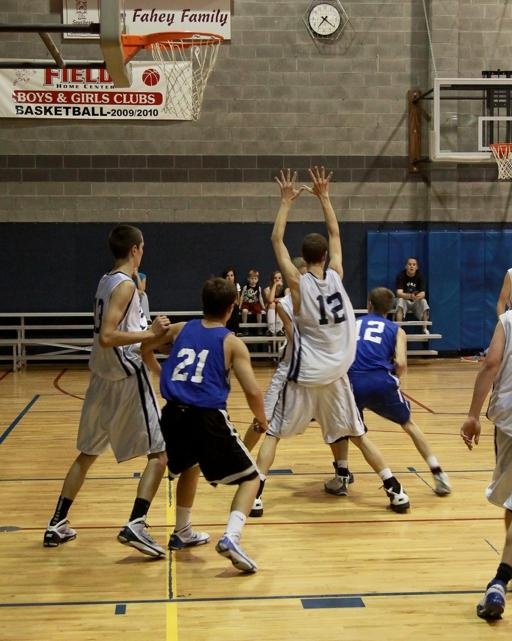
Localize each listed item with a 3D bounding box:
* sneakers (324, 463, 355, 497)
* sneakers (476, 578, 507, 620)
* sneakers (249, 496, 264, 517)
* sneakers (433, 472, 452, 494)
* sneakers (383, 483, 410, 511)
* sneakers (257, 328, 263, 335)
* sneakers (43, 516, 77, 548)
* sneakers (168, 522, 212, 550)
[{"bbox_3d":[0.542,1.047,5.508,0.104,0.186,0.270,2,2,-5],"label":"sneakers"},{"bbox_3d":[1.006,1.189,3.533,0.083,0.107,0.214,2,-29,3],"label":"sneakers"},{"bbox_3d":[0.007,1.104,4.988,0.085,0.119,0.254,2,2,2],"label":"sneakers"},{"bbox_3d":[1.196,1.069,5.355,0.065,0.086,0.195,2,35,1],"label":"sneakers"},{"bbox_3d":[0.838,1.067,4.985,0.093,0.105,0.233,-11,18,-2],"label":"sneakers"},{"bbox_3d":[0.040,0.161,12.019,0.093,0.092,0.161,2,14,-3],"label":"sneakers"},{"bbox_3d":[-1.062,1.146,4.520,0.082,0.138,0.226,1,4,17],"label":"sneakers"},{"bbox_3d":[-0.364,1.148,4.472,0.264,0.125,0.090,-1,4,-41],"label":"sneakers"}]
